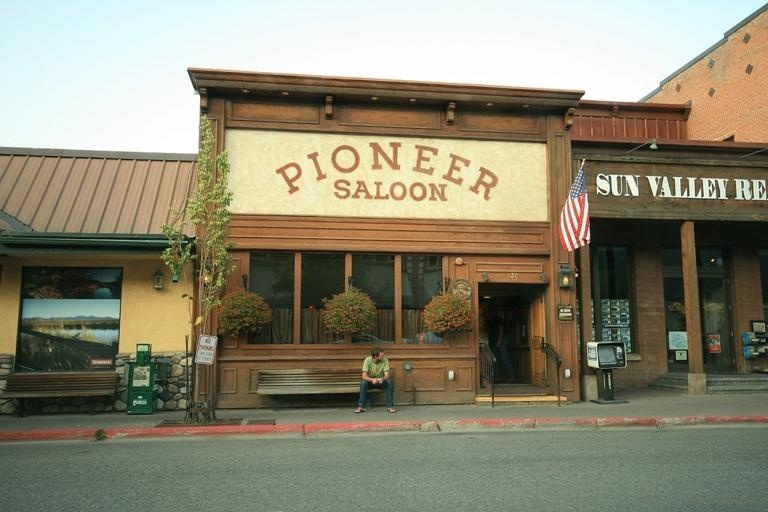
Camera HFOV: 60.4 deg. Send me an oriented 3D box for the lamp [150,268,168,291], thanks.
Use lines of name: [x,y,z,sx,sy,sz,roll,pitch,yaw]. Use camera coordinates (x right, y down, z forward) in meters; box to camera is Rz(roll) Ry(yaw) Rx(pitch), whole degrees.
lamp: [-6.405,0.677,19.024,0.530,1.016,0.583,1,-3,-24]

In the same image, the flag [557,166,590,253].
flag: [5.447,-1.437,19.118,0.868,2.479,0.836,-5,-15,20]

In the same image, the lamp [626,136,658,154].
lamp: [8.152,-3.542,20.786,1.225,0.509,0.388,-8,-2,27]

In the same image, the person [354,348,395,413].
person: [-0.223,3.476,18.373,1.079,1.746,1.159,0,-14,-2]
